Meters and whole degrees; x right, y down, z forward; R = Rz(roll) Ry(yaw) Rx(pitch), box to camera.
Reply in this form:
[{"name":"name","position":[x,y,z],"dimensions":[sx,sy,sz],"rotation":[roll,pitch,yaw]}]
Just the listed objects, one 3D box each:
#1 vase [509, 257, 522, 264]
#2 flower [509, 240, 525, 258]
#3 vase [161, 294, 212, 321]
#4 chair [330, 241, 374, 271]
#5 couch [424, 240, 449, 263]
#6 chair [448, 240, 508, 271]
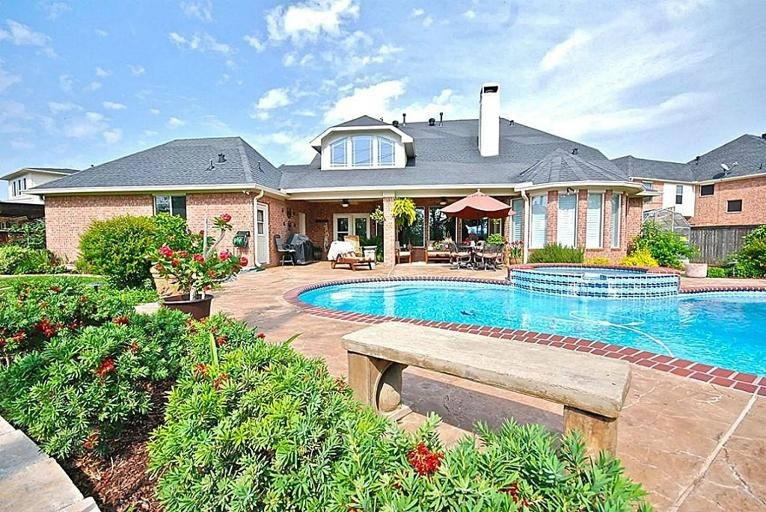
[{"name":"vase","position":[5.420,0.182,19.141],"dimensions":[0.317,0.211,0.315],"rotation":[-1,2,-14]},{"name":"flower","position":[5.442,-0.296,19.245],"dimensions":[0.715,0.818,0.598],"rotation":[1,1,-2]},{"name":"vase","position":[-3.826,0.920,9.167],"dimensions":[0.804,0.512,0.795],"rotation":[-1,-3,-4]},{"name":"chair","position":[-1.356,-0.025,19.329],"dimensions":[1.308,0.875,1.551],"rotation":[-1,1,-41]},{"name":"couch","position":[2.532,-0.221,21.783],"dimensions":[0.996,0.707,1.157],"rotation":[0,-2,4]},{"name":"chair","position":[3.896,0.028,19.192],"dimensions":[1.171,0.873,1.915],"rotation":[-1,0,-11]}]
